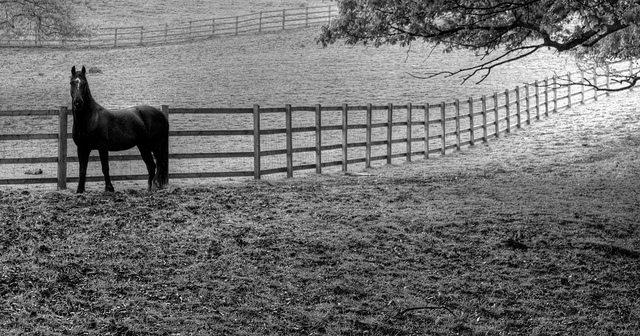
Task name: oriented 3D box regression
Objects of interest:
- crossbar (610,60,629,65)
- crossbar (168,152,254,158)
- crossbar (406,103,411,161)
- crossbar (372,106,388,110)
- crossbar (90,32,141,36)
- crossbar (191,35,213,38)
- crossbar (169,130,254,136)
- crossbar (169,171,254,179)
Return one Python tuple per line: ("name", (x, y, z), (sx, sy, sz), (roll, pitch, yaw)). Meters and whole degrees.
("crossbar", (15.535, -5.476, 43.336), (0.670, 0.160, 13.490), (0, 6, 19))
("crossbar", (-3.696, -0.435, 28.589), (2.866, 0.193, 0.634), (-2, 6, -7))
("crossbar", (3.365, -1.355, 31.886), (0.223, 2.178, 0.503), (-2, 6, 8))
("crossbar", (2.273, -2.294, 31.764), (0.559, 0.139, 1.242), (-1, 6, 4))
("crossbar", (-13.958, -9.211, 57.563), (2.063, 0.059, 0.436), (-3, 36, -6))
("crossbar", (-7.935, -9.058, 57.440), (0.995, 0.224, 1.490), (1, 7, 25))
("crossbar", (-3.678, -1.217, 28.522), (2.830, 0.192, 0.416), (-3, 6, -10))
("crossbar", (-3.754, 0.231, 28.762), (2.845, 0.265, 0.750), (-4, 6, -21))
